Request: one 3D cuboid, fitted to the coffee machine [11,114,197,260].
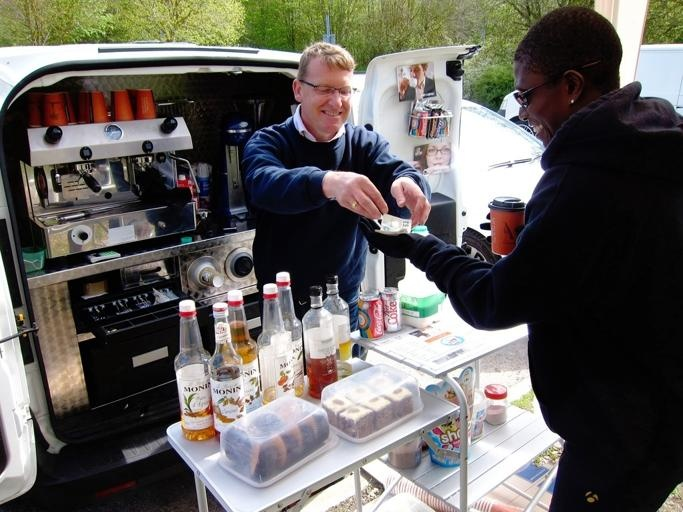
[{"bbox_3d":[-1.596,-0.486,3.143,1.149,0.958,0.678,-16,29,-41],"label":"coffee machine"}]

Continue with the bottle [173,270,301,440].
[{"bbox_3d":[-0.369,0.394,1.641,0.328,0.565,0.329,2,22,-1],"label":"bottle"}]

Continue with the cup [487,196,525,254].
[{"bbox_3d":[0.673,-0.148,1.867,0.104,0.237,0.137,-18,25,-38],"label":"cup"}]

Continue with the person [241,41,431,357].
[{"bbox_3d":[-0.046,-0.370,2.316,0.946,1.936,0.737,-7,16,-21],"label":"person"}]

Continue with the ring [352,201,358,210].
[{"bbox_3d":[0.051,-0.194,1.749,0.023,0.028,0.028,10,-2,29],"label":"ring"}]

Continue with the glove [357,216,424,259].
[{"bbox_3d":[0.190,-0.099,1.829,0.217,0.106,0.128,23,46,33],"label":"glove"}]
